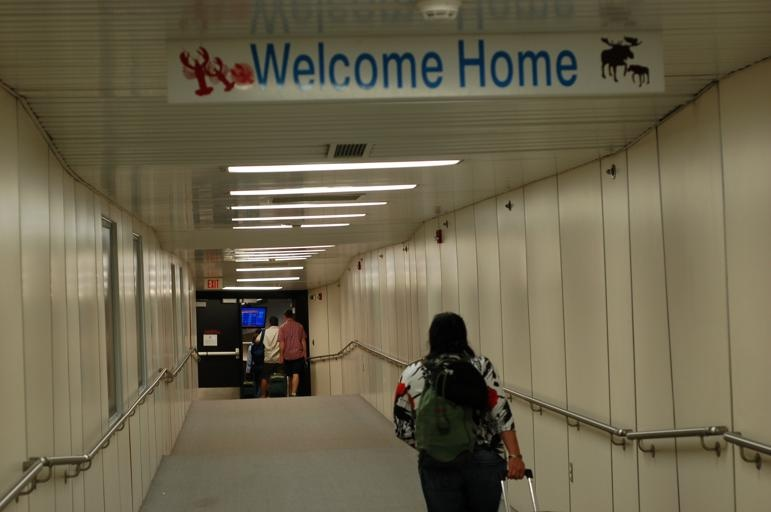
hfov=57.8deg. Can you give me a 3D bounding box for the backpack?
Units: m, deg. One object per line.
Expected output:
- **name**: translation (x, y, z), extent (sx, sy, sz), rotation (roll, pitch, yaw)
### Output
- **backpack**: translation (0.431, 1.063, 4.793), extent (0.497, 0.763, 0.405), rotation (-8, -16, 4)
